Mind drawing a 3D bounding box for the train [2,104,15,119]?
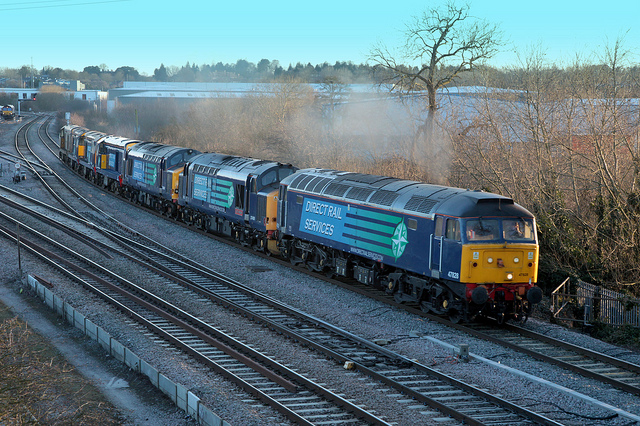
[{"bbox_3d":[-67.553,-21.628,124.215,1.769,1.995,5.269,-2,4,-19],"label":"train"}]

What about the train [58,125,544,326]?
[{"bbox_3d":[-2.984,-0.792,35.605,3.190,4.065,37.401,12,3,-38],"label":"train"}]
